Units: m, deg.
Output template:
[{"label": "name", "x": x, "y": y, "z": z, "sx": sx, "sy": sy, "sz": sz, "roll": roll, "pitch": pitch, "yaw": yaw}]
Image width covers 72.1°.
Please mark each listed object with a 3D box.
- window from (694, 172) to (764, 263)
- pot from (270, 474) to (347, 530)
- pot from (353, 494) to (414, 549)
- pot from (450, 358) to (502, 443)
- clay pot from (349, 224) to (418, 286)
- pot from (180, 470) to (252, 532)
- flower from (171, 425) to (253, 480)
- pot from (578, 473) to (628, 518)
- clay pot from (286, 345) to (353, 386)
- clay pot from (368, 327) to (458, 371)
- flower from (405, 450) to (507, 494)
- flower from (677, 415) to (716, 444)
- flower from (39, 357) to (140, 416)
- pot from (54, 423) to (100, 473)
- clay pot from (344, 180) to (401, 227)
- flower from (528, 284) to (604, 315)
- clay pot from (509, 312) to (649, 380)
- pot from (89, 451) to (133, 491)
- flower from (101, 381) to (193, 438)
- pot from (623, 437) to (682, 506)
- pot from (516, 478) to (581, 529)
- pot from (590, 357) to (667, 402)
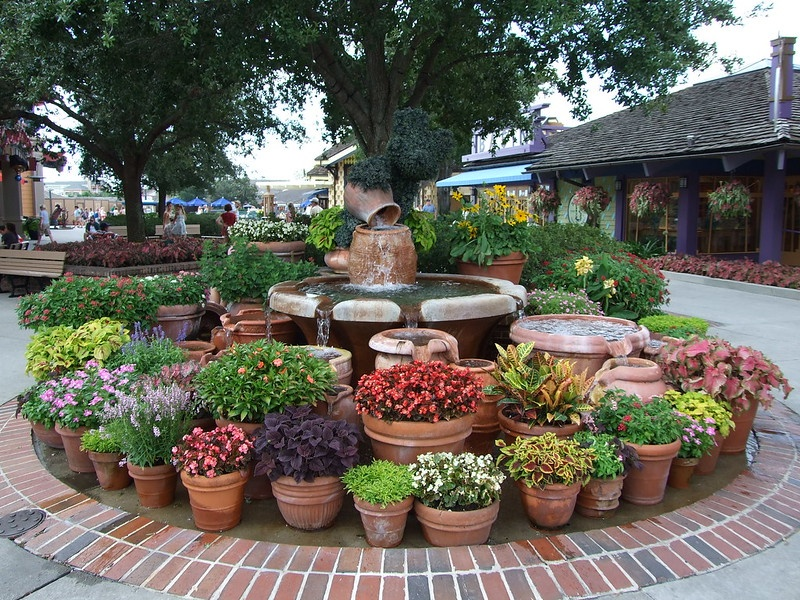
[{"label": "window", "x": 9.636, "y": -2.460, "z": 16.148, "sx": 2.798, "sy": 2.379, "sz": 0.132, "roll": -6, "pitch": 11, "yaw": -12}, {"label": "pot", "x": -0.628, "y": 1.431, "z": 3.914, "sx": 0.533, "sy": 0.346, "sz": 0.508, "roll": -1, "pitch": -11, "yaw": 0}, {"label": "pot", "x": -0.117, "y": 1.466, "z": 3.720, "sx": 0.437, "sy": 0.311, "sz": 0.433, "roll": 2, "pitch": -3, "yaw": 0}, {"label": "pot", "x": 0.709, "y": 0.875, "z": 4.659, "sx": 0.584, "sy": 0.668, "sz": 0.587, "roll": -1, "pitch": 7, "yaw": 0}, {"label": "clay pot", "x": -0.183, "y": -0.555, "z": 6.714, "sx": 0.745, "sy": 0.682, "sz": 0.729, "roll": -1, "pitch": 14, "yaw": 0}, {"label": "pot", "x": -1.281, "y": 1.356, "z": 3.879, "sx": 0.444, "sy": 0.324, "sz": 0.433, "roll": 0, "pitch": 1, "yaw": 0}, {"label": "flower", "x": -1.275, "y": 1.052, "z": 3.799, "sx": 0.400, "sy": 0.169, "sz": 0.405, "roll": 5, "pitch": 10, "yaw": 20}, {"label": "pot", "x": 1.430, "y": 1.388, "z": 3.891, "sx": 0.330, "sy": 0.222, "sz": 0.321, "roll": -2, "pitch": 0, "yaw": 0}, {"label": "clay pot", "x": -0.626, "y": 0.658, "z": 4.840, "sx": 0.459, "sy": 0.330, "sz": 0.450, "roll": -9, "pitch": 22, "yaw": 4}, {"label": "clay pot", "x": 0.084, "y": 0.428, "z": 4.744, "sx": 0.741, "sy": 0.235, "sz": 0.725, "roll": 0, "pitch": 11, "yaw": 0}, {"label": "flower", "x": 0.384, "y": 1.146, "z": 3.636, "sx": 0.591, "sy": 0.184, "sz": 0.235, "roll": 0, "pitch": 11, "yaw": 0}, {"label": "flower", "x": 2.284, "y": 0.989, "z": 4.230, "sx": 0.258, "sy": 0.139, "sz": 0.257, "roll": -3, "pitch": -7, "yaw": 41}, {"label": "flower", "x": -2.652, "y": 0.755, "z": 4.671, "sx": 0.640, "sy": 0.355, "sz": 0.558, "roll": -3, "pitch": 18, "yaw": -13}, {"label": "pot", "x": -2.606, "y": 1.219, "z": 4.626, "sx": 0.409, "sy": 0.332, "sz": 0.397, "roll": -1, "pitch": 0, "yaw": 0}, {"label": "clay pot", "x": -0.347, "y": -1.241, "z": 7.308, "sx": 0.548, "sy": 0.559, "sz": 0.835, "roll": -6, "pitch": 13, "yaw": -27}, {"label": "flower", "x": 2.073, "y": 0.073, "z": 6.948, "sx": 0.908, "sy": 0.273, "sz": 0.430, "roll": 3, "pitch": 12, "yaw": 13}, {"label": "clay pot", "x": 1.764, "y": 0.438, "z": 5.425, "sx": 1.244, "sy": 0.382, "sz": 1.182, "roll": 0, "pitch": 11, "yaw": 0}, {"label": "pot", "x": -2.226, "y": 1.312, "z": 4.347, "sx": 0.351, "sy": 0.269, "sz": 0.343, "roll": -1, "pitch": -1, "yaw": 0}, {"label": "flower", "x": -1.893, "y": 0.831, "z": 4.175, "sx": 0.505, "sy": 0.336, "sz": 0.439, "roll": -1, "pitch": -4, "yaw": -20}, {"label": "pot", "x": 1.868, "y": 1.297, "z": 4.183, "sx": 0.506, "sy": 0.435, "sz": 0.501, "roll": 4, "pitch": -4, "yaw": 0}, {"label": "pot", "x": 1.050, "y": 1.426, "z": 3.895, "sx": 0.479, "sy": 0.333, "sz": 0.468, "roll": 3, "pitch": -6, "yaw": 0}, {"label": "pot", "x": 1.946, "y": 0.688, "z": 4.659, "sx": 0.560, "sy": 0.259, "sz": 0.730, "roll": 6, "pitch": 13, "yaw": 29}]
